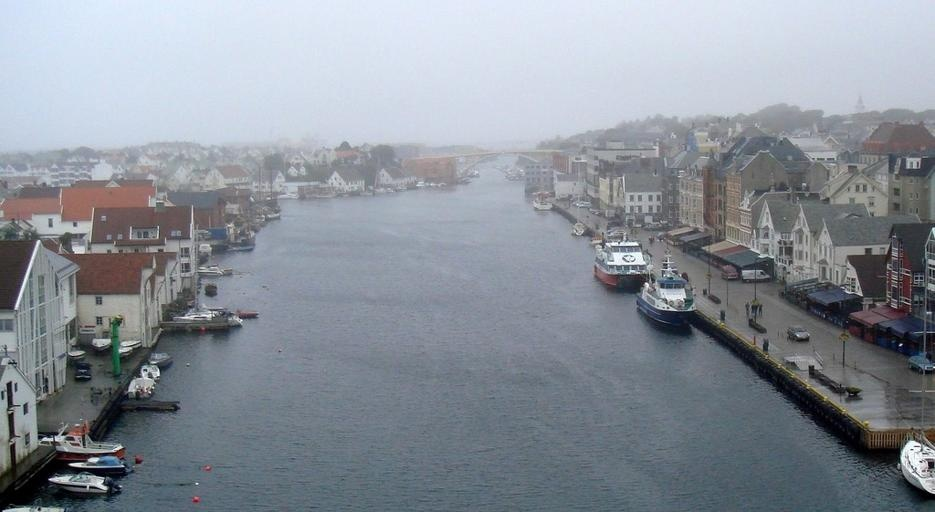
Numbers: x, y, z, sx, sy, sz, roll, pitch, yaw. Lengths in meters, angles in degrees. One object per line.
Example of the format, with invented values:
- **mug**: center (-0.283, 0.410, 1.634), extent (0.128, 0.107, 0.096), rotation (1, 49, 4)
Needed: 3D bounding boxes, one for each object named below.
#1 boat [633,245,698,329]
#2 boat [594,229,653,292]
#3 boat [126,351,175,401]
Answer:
- **boat**: center (14.803, 2.794, 67.416), extent (2.823, 3.674, 8.122), rotation (-1, 12, 1)
- **boat**: center (13.207, 0.716, 76.343), extent (2.977, 2.653, 8.003), rotation (-1, 3, 3)
- **boat**: center (-19.511, 7.439, 54.651), extent (1.541, 1.070, 4.941), rotation (-3, 13, -4)
